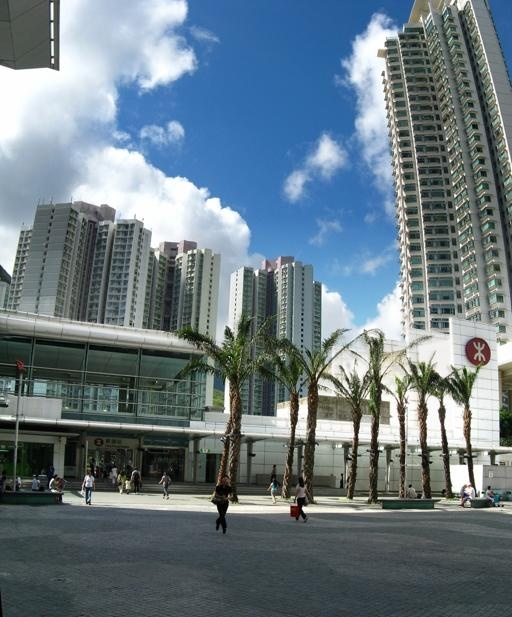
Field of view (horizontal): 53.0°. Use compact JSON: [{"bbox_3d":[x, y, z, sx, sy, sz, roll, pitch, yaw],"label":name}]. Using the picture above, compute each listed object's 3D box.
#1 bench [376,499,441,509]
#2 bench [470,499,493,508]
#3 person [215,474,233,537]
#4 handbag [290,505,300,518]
[{"bbox_3d":[8.641,11.158,29.149,3.779,0.532,1.078,9,-16,-27],"label":"bench"},{"bbox_3d":[14.099,12.256,32.116,0.934,0.316,0.956,-6,-18,16],"label":"bench"},{"bbox_3d":[-0.941,5.214,13.604,0.419,1.405,1.183,3,-14,-4],"label":"person"},{"bbox_3d":[1.375,7.286,18.280,0.182,0.443,0.457,6,-14,-14],"label":"handbag"}]
